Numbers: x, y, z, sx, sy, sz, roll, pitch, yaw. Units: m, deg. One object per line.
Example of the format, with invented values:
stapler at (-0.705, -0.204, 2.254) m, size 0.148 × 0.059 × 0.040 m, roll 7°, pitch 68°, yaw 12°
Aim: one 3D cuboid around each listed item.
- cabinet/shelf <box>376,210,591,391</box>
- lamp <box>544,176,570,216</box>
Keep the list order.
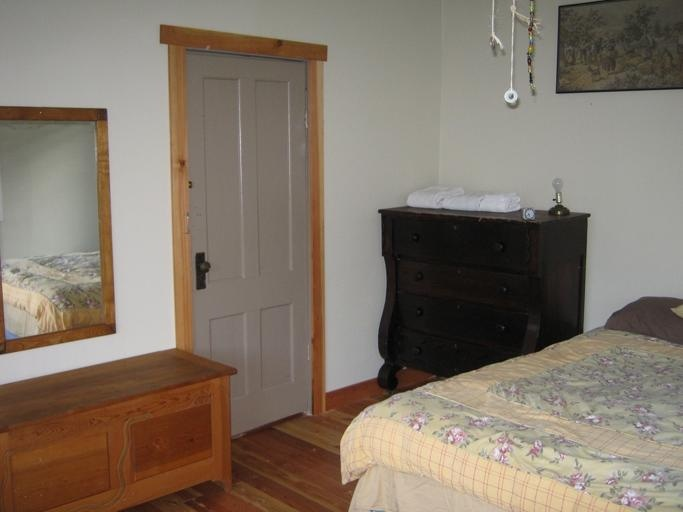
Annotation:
cabinet/shelf at (0.963, 0.251, 4.215) m, size 1.562 × 1.632 × 1.179 m, roll 6°, pitch 8°, yaw 42°
lamp at (1.456, -0.400, 3.643) m, size 0.131 × 0.223 × 0.493 m, roll 2°, pitch 12°, yaw 21°
